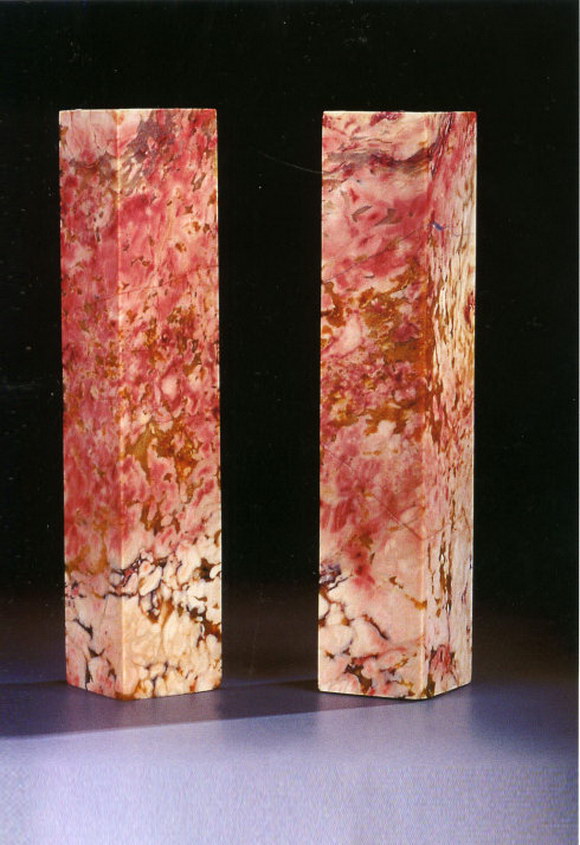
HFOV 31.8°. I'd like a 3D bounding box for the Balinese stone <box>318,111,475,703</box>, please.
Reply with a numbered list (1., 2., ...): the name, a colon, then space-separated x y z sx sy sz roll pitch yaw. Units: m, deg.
1. Balinese stone: 0.226 -0.028 1.949 0.350 1.148 0.233 1 3 -7
